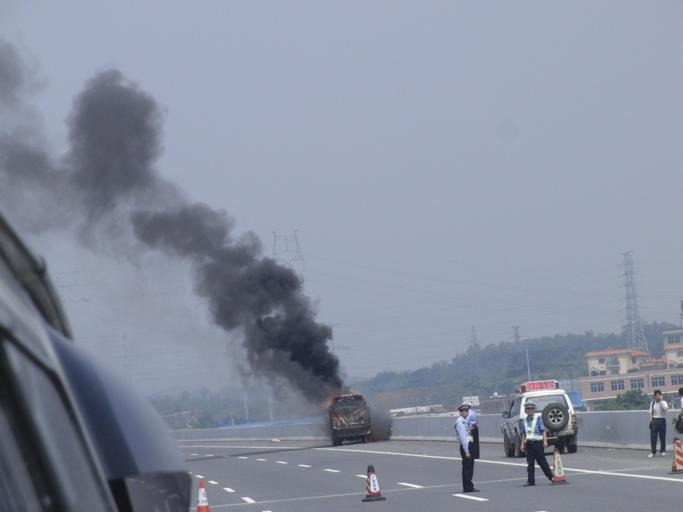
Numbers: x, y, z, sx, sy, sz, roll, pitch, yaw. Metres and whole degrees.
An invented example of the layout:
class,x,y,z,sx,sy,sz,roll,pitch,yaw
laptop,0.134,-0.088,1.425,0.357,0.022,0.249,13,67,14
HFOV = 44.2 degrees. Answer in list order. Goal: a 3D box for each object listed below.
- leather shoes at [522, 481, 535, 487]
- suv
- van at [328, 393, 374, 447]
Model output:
class,x,y,z,sx,sy,sz,roll,pitch,yaw
leather shoes,3.623,4.492,16.498,0.254,0.112,0.087,4,-3,32
suv,5.565,4.543,23.477,1.943,2.048,3.472,1,-6,-6
van,0.396,8.473,43.860,1.544,1.831,2.968,-1,-19,-4
